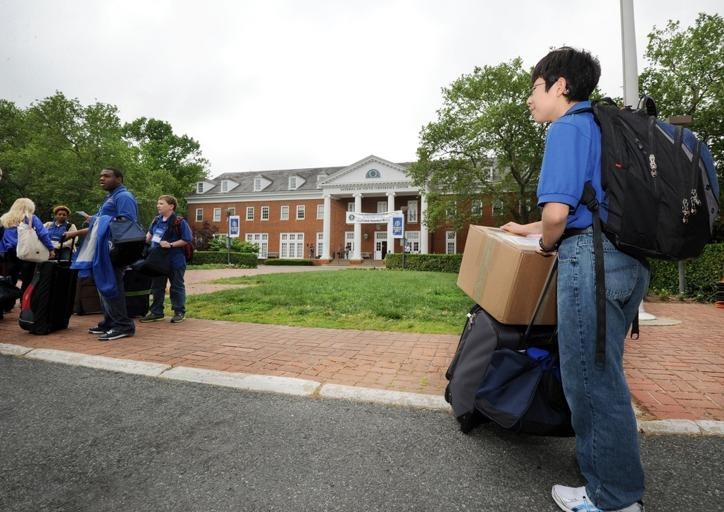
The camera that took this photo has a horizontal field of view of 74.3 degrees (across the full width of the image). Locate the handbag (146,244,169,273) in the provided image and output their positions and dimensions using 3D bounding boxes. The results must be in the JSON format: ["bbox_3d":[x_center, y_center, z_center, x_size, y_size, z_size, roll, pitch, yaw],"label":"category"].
[{"bbox_3d":[-3.011,0.060,7.048,0.245,0.450,0.329,-14,-16,24],"label":"handbag"}]

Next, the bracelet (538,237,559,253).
[{"bbox_3d":[1.236,-0.064,3.155,0.091,0.067,0.118,10,-6,12],"label":"bracelet"}]

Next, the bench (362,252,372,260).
[{"bbox_3d":[0.529,0.069,46.126,0.951,0.830,0.648,0,-6,-3],"label":"bench"}]

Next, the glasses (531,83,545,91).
[{"bbox_3d":[1.234,-1.166,3.335,0.066,0.019,0.064,-1,6,24],"label":"glasses"}]

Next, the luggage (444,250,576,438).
[{"bbox_3d":[1.163,0.596,3.718,0.808,1.355,1.018,6,8,9],"label":"luggage"}]

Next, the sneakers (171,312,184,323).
[{"bbox_3d":[-2.859,0.972,7.417,0.190,0.142,0.222,-4,12,-21],"label":"sneakers"}]

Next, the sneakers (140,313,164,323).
[{"bbox_3d":[-3.278,0.977,7.484,0.365,0.142,0.126,7,1,-31],"label":"sneakers"}]

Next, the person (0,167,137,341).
[{"bbox_3d":[-3.319,-0.017,6.214,0.736,2.165,0.989,-2,12,-14],"label":"person"}]

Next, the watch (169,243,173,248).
[{"bbox_3d":[-2.883,-0.141,7.240,0.034,0.064,0.098,-2,12,-14],"label":"watch"}]
